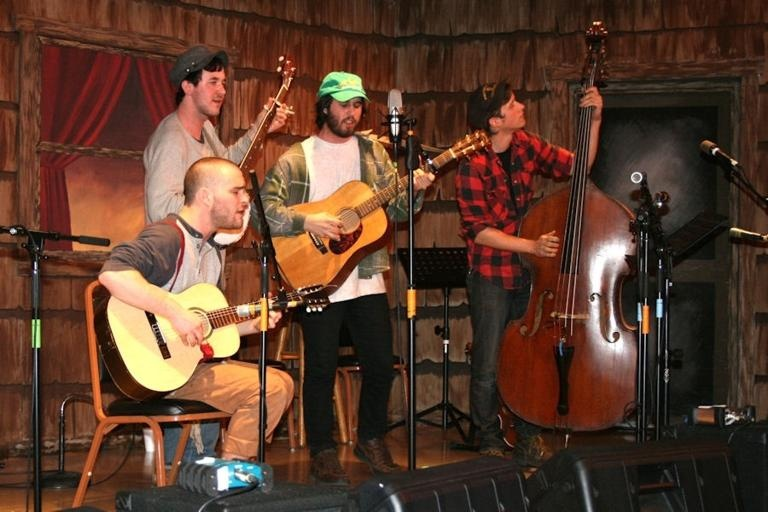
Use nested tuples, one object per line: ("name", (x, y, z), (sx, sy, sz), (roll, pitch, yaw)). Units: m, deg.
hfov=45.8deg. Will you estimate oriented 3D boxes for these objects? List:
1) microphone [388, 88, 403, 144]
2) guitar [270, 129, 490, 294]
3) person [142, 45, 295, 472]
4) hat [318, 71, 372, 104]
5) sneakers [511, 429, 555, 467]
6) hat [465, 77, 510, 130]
("microphone", (0.069, -0.852, 5.624), (0.079, 0.340, 0.177), (1, -7, 1))
("guitar", (-0.070, -0.323, 6.403), (1.661, 0.700, 0.252), (-33, 6, -14))
("person", (-1.239, -0.102, 6.645), (1.064, 2.773, 0.775), (-14, 34, -36))
("hat", (-0.316, -1.172, 6.330), (0.205, 0.159, 0.293), (-3, 8, -32))
("sneakers", (1.104, 1.428, 6.749), (0.236, 0.375, 0.142), (-15, -43, 18))
("hat", (0.817, -1.097, 6.774), (0.271, 0.374, 0.353), (-13, 37, -37))
